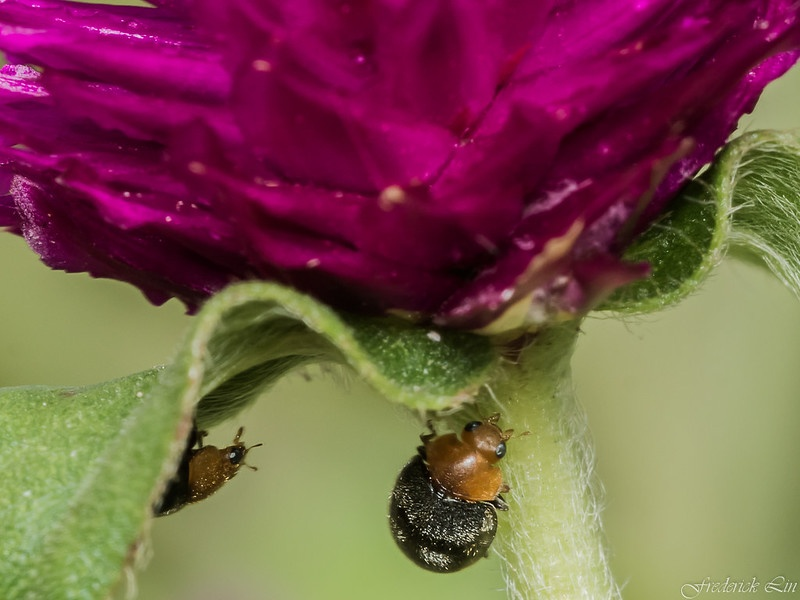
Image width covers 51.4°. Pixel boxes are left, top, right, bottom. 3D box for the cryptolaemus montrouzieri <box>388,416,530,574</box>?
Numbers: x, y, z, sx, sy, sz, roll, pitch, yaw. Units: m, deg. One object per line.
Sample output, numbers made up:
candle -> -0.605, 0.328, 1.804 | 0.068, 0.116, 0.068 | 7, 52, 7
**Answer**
cryptolaemus montrouzieri -> 0.043, 0.116, 0.532 | 0.076, 0.099, 0.030 | 31, 11, 23
